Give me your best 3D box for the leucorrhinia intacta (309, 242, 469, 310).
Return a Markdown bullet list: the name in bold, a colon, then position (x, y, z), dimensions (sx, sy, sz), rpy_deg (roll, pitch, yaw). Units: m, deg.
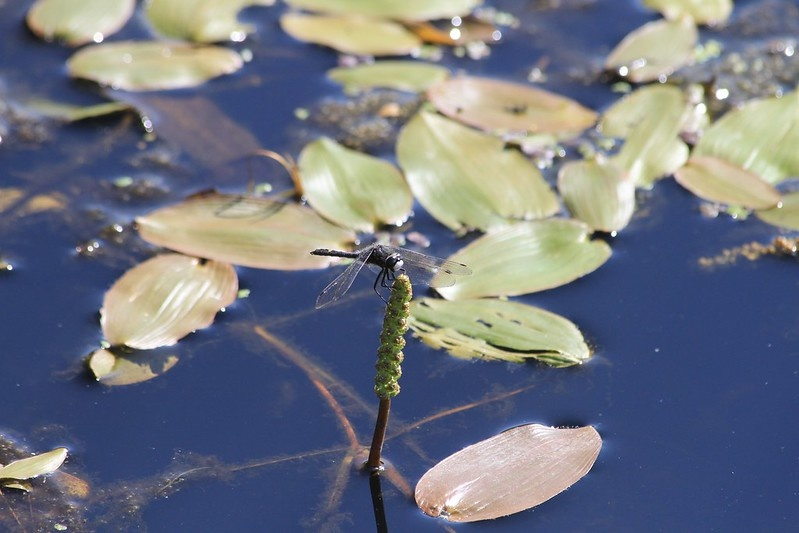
- **leucorrhinia intacta**: position (-0.032, 0.011, 2.927), dimensions (0.492, 0.179, 0.198), rpy_deg (-14, 64, -6)
